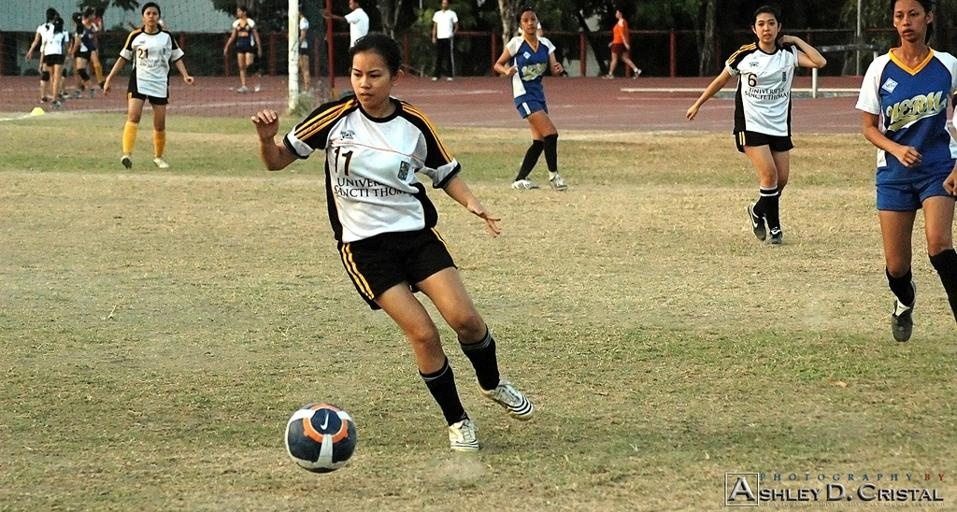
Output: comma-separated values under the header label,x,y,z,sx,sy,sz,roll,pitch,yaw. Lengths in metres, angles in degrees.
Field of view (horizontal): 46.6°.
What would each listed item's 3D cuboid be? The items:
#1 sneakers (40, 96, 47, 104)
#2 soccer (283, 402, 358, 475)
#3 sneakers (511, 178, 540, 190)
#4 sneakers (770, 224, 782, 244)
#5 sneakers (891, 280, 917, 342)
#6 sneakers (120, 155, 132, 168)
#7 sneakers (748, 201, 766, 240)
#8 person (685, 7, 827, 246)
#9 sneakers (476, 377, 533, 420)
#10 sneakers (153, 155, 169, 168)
label,x,y,z,sx,sy,sz,roll,pitch,yaw
sneakers,-10.953,-3.909,27.943,0.158,0.162,0.435,-5,10,-22
soccer,-1.355,1.534,9.356,0.695,0.476,0.699,10,2,7
sneakers,0.709,-1.062,16.468,0.468,0.183,0.150,-1,17,-2
sneakers,3.657,-0.268,13.623,0.231,0.215,0.142,-6,9,-22
sneakers,4.130,0.517,10.839,0.222,0.573,0.276,12,16,37
sneakers,-5.478,-1.461,17.272,0.113,0.115,0.280,-11,-18,-15
sneakers,3.454,-0.458,13.789,0.193,0.505,0.218,-24,19,-35
person,3.521,-1.669,14.007,1.047,2.866,1.040,6,12,44
sneakers,0.247,1.231,9.644,0.543,0.228,0.205,30,-16,7
sneakers,-5.038,-1.484,17.631,0.132,0.129,0.330,-17,21,-34
